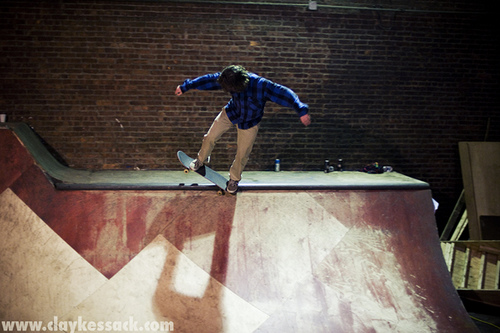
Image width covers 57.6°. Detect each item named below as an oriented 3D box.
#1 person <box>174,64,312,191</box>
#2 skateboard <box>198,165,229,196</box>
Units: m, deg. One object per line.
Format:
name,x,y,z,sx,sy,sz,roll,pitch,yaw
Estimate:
person,-0.081,-0.615,6.671,1.651,1.529,0.881,-14,44,-17
skateboard,-0.538,0.167,6.835,0.788,0.109,0.210,38,42,28
